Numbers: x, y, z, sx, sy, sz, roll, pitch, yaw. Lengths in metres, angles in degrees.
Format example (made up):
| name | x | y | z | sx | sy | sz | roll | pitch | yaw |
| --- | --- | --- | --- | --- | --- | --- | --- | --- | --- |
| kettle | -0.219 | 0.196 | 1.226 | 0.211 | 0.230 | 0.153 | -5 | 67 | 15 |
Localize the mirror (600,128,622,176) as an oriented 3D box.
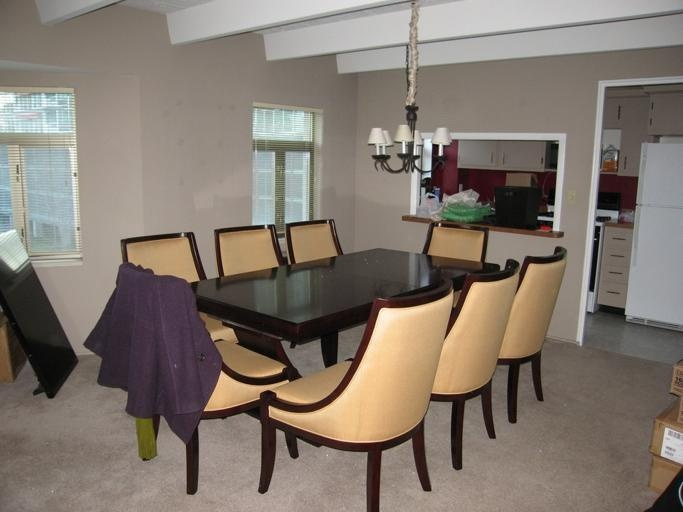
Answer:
| name | x | y | z | sx | sy | sz | roll | pitch | yaw |
| --- | --- | --- | --- | --- | --- | --- | --- | --- | --- |
| mirror | 3.656 | -1.434 | 7.043 | 0.251 | 0.635 | 0.062 | 13 | 30 | 41 |
